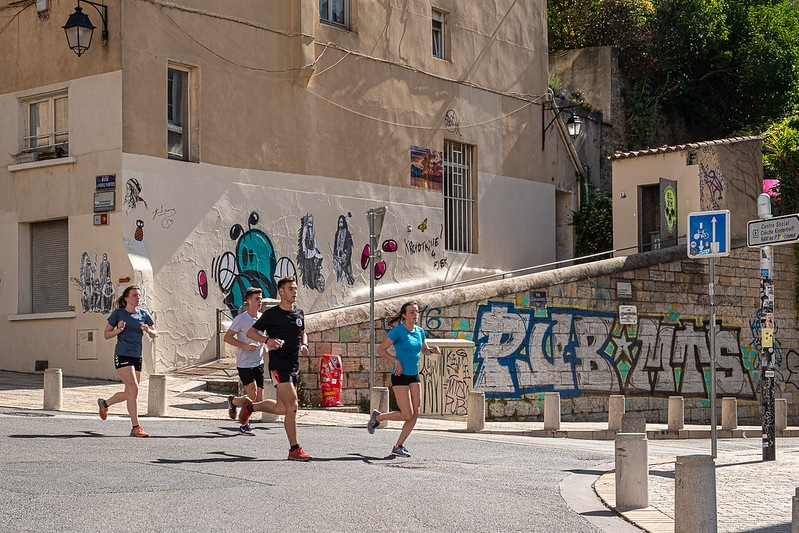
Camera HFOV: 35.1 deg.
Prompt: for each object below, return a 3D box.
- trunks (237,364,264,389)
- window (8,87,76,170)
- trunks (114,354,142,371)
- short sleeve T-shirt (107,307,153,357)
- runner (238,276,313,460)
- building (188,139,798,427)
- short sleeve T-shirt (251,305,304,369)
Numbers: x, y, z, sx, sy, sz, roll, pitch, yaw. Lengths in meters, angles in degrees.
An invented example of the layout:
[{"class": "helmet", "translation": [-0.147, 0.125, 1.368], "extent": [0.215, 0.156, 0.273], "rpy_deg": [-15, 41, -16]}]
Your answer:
[{"class": "trunks", "translation": [-3.086, 2.286, 26.613], "extent": [0.640, 0.654, 0.387], "rpy_deg": [-1, -6, -33]}, {"class": "window", "translation": [-9.607, -3.694, 34.109], "extent": [1.836, 1.921, 0.733], "rpy_deg": [-9, -12, 36]}, {"class": "trunks", "translation": [-5.590, 2.093, 25.868], "extent": [0.511, 0.409, 0.293], "rpy_deg": [6, -14, -33]}, {"class": "short sleeve T-shirt", "translation": [-5.762, 1.401, 26.816], "extent": [1.147, 1.291, 0.628], "rpy_deg": [6, -11, -37]}, {"class": "runner", "translation": [-2.398, 2.016, 25.023], "extent": [1.178, 3.587, 1.981], "rpy_deg": [1, -5, -9]}, {"class": "building", "translation": [5.218, 1.933, 38.634], "extent": [10.695, 5.396, 10.817], "rpy_deg": [3, -7, -38]}, {"class": "short sleeve T-shirt", "translation": [-2.418, 1.382, 24.784], "extent": [0.563, 1.295, 1.099], "rpy_deg": [-17, -18, 42]}]
